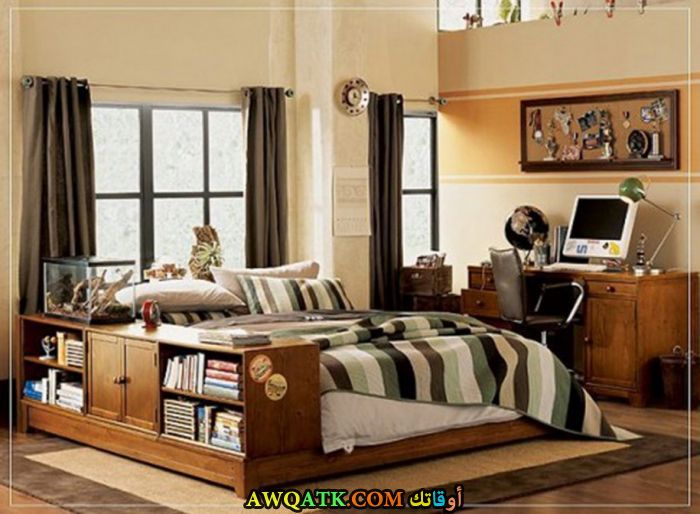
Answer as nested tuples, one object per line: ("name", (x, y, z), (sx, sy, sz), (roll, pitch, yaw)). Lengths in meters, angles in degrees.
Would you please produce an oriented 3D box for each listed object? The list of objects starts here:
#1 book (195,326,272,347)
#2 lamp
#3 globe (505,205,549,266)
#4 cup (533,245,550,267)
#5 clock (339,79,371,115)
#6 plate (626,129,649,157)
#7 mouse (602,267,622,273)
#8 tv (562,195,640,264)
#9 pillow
("book", (-0.653, 0.434, 3.499), (0.467, 0.070, 0.203), (0, 1, 16))
("lamp", (2.545, -0.295, 5.468), (0.384, 0.811, 0.464), (1, 1, 39))
("globe", (1.666, -0.222, 6.109), (0.386, 0.507, 0.279), (-7, -16, 19))
("cup", (1.797, -0.008, 6.037), (0.182, 0.196, 0.181), (0, -4, 0))
("clock", (0.064, -1.563, 6.318), (0.331, 0.368, 0.063), (-1, 1, -27))
("plate", (2.547, -1.001, 5.719), (0.052, 0.250, 0.197), (-1, 1, -34))
("mouse", (2.254, 0.105, 5.514), (0.139, 0.038, 0.108), (0, 1, 17))
("tv", (2.272, -0.243, 5.779), (0.215, 0.607, 0.594), (4, -1, -37))
("pillow", (-1.097, 0.248, 5.154), (0.916, 0.338, 0.729), (5, -1, -44))
